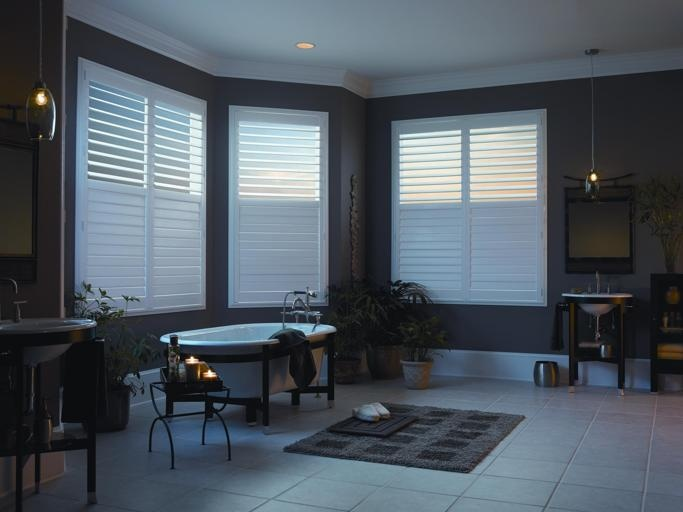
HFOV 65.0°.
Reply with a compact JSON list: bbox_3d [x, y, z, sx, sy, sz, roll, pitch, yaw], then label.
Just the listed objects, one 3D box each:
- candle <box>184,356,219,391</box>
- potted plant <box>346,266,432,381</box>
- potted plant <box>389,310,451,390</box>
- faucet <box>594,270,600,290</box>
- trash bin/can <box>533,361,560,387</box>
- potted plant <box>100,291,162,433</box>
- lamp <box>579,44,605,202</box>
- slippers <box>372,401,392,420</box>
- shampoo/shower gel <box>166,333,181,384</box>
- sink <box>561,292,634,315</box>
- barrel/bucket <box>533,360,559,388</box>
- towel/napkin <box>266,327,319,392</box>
[{"bbox_3d":[-0.943,0.779,3.593,0.233,0.199,0.205,0,0,-19],"label":"candle"},{"bbox_3d":[0.411,0.724,6.197,1.183,1.267,1.018,0,-1,10],"label":"potted plant"},{"bbox_3d":[0.845,0.984,5.821,0.701,0.845,0.663,1,-4,-18],"label":"potted plant"},{"bbox_3d":[2.688,0.258,5.614,0.038,0.178,0.144,0,0,24],"label":"faucet"},{"bbox_3d":[2.129,1.217,5.572,0.246,0.242,0.251,0,-4,5],"label":"trash bin/can"},{"bbox_3d":[-1.721,0.800,4.330,0.438,1.077,1.055,0,0,-20],"label":"potted plant"},{"bbox_3d":[2.589,-1.359,5.530,0.199,1.497,0.198,-15,16,-33],"label":"lamp"},{"bbox_3d":[0.317,1.236,4.323,0.091,0.053,0.156,0,-1,-22],"label":"slippers"},{"bbox_3d":[-1.130,0.667,3.576,0.076,0.288,0.253,0,0,-19],"label":"shampoo/shower gel"},{"bbox_3d":[2.468,0.438,5.238,0.342,0.125,0.339,0,-1,-33],"label":"sink"},{"bbox_3d":[2.129,1.214,5.576,0.245,0.241,0.250,0,-4,0],"label":"barrel/bucket"},{"bbox_3d":[-0.379,0.791,4.202,0.395,0.430,0.160,0,14,28],"label":"towel/napkin"}]
